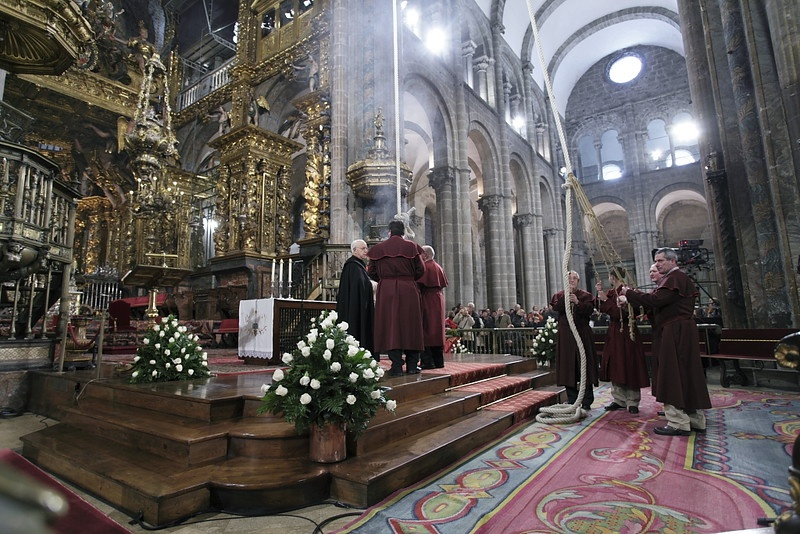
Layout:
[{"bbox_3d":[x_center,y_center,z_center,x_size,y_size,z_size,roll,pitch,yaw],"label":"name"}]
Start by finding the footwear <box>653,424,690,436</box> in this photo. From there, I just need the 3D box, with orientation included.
[{"bbox_3d":[3.961,2.422,7.374,0.460,0.194,0.170,1,-16,18],"label":"footwear"}]

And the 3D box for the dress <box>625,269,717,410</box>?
[{"bbox_3d":[4.081,1.058,7.845,1.199,2.399,1.035,-5,-5,36],"label":"dress"}]

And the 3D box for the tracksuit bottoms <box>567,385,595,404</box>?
[{"bbox_3d":[3.099,2.223,8.652,0.414,0.443,0.421,-4,-11,18],"label":"tracksuit bottoms"}]

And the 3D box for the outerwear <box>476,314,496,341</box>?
[{"bbox_3d":[2.598,1.868,15.243,0.374,0.932,0.336,-6,-47,11],"label":"outerwear"}]

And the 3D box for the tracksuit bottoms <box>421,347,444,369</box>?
[{"bbox_3d":[0.580,1.633,8.963,0.399,0.599,0.372,-1,-9,11],"label":"tracksuit bottoms"}]
